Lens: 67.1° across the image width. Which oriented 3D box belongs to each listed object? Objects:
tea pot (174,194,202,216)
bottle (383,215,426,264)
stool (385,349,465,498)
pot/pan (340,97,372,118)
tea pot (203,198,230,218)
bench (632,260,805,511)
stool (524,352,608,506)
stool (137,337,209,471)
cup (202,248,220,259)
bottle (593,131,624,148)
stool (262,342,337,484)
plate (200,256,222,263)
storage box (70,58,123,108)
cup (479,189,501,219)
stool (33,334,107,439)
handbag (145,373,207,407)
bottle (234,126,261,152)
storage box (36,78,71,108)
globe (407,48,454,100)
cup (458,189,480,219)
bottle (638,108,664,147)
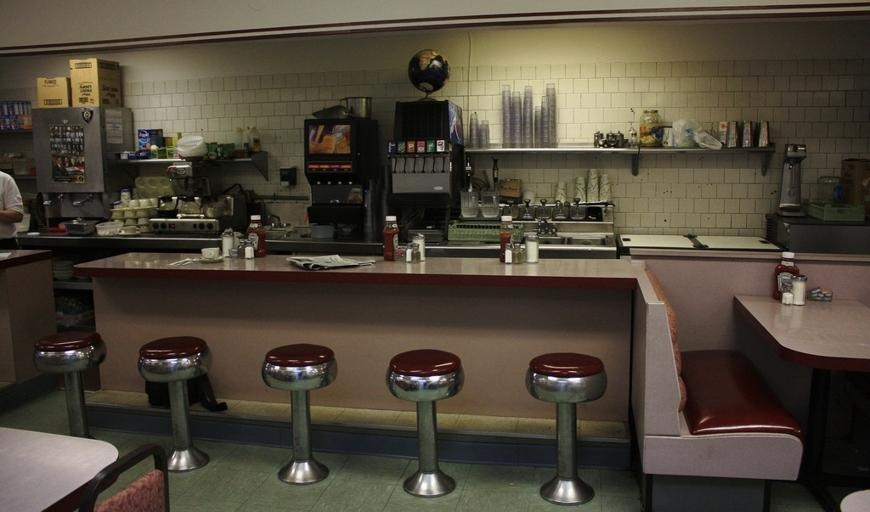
[{"bbox_3d":[-3.029,-0.611,8.081,0.374,0.201,0.198,8,17,39],"label":"tea pot"},{"bbox_3d":[-0.329,-0.165,5.971,0.432,0.413,0.217,8,17,40],"label":"bottle"},{"bbox_3d":[-0.059,1.351,5.262,0.594,1.174,0.349,-4,13,-4],"label":"stool"},{"bbox_3d":[-0.945,-1.796,7.971,0.367,0.228,0.268,1,8,11],"label":"pot/pan"},{"bbox_3d":[-2.647,-0.588,8.025,0.303,0.171,0.220,0,6,-3],"label":"tea pot"},{"bbox_3d":[2.247,1.060,5.136,1.032,1.249,1.910,-1,9,8],"label":"bench"},{"bbox_3d":[1.020,1.367,5.175,0.520,1.193,0.401,-11,15,-29],"label":"stool"},{"bbox_3d":[-2.140,1.261,5.597,0.546,1.125,0.325,-4,13,-4],"label":"stool"},{"bbox_3d":[-2.074,-0.026,6.073,0.117,0.053,0.102,2,2,-7],"label":"cup"},{"bbox_3d":[2.061,-1.386,7.817,0.320,0.165,0.210,3,7,30],"label":"bottle"},{"bbox_3d":[-1.075,1.312,5.393,0.514,1.154,0.389,4,15,29],"label":"stool"},{"bbox_3d":[-2.058,0.031,6.049,0.195,0.046,0.145,-6,13,-17],"label":"plate"},{"bbox_3d":[-4.450,-2.251,8.567,0.415,0.630,0.721,1,10,5],"label":"storage box"},{"bbox_3d":[0.642,-0.597,7.726,0.226,0.313,0.187,-3,13,2],"label":"cup"},{"bbox_3d":[-3.075,1.171,5.707,0.510,1.034,0.347,-2,13,5],"label":"stool"},{"bbox_3d":[-2.505,1.277,6.217,0.336,0.312,0.335,0,-15,16],"label":"handbag"},{"bbox_3d":[-2.460,-1.515,8.591,0.353,0.344,0.251,-3,13,-2],"label":"bottle"},{"bbox_3d":[-4.924,-2.101,8.435,0.429,0.383,0.348,-6,13,-12],"label":"storage box"},{"bbox_3d":[-0.102,-2.134,7.676,0.420,0.533,0.362,10,18,44],"label":"globe"},{"bbox_3d":[0.407,-0.604,7.719,0.227,0.316,0.129,-3,13,2],"label":"cup"},{"bbox_3d":[2.566,-1.532,7.842,0.300,0.420,0.259,-8,13,-18],"label":"bottle"}]
